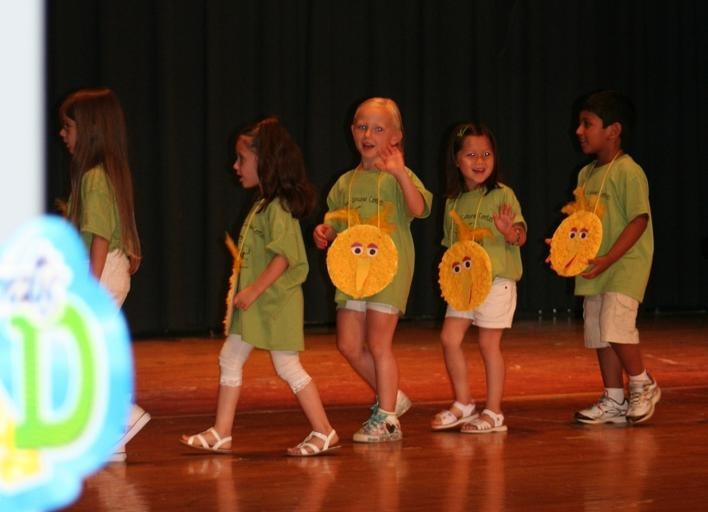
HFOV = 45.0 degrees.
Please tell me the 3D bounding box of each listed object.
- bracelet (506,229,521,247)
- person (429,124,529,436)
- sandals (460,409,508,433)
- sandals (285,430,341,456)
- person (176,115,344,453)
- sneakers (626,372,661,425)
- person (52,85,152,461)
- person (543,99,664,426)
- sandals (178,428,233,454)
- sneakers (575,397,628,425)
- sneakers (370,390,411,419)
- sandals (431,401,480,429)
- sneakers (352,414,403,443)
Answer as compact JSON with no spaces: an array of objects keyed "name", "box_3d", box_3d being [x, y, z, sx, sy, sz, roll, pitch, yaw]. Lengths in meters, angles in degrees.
[{"name":"bracelet","box_3d":[0.747,-0.090,3.952,0.104,0.070,0.033,-7,8,-44]},{"name":"person","box_3d":[0.594,0.078,4.032,0.424,1.411,0.644,0,6,11]},{"name":"sandals","box_3d":[0.589,0.741,3.866,0.181,0.086,0.096,1,-4,-13]},{"name":"sandals","box_3d":[-0.171,0.757,3.515,0.185,0.077,0.090,-2,-1,-27]},{"name":"person","box_3d":[-0.368,0.122,3.553,0.571,1.386,0.384,-2,6,-3]},{"name":"sneakers","box_3d":[1.374,0.651,4.068,0.103,0.134,0.296,-14,29,44]},{"name":"person","box_3d":[-1.042,-0.234,3.428,0.306,0.875,0.250,-2,6,-5]},{"name":"person","box_3d":[1.267,-0.014,4.115,0.410,1.574,0.591,1,6,19]},{"name":"sandals","box_3d":[-0.605,0.748,3.452,0.195,0.088,0.095,11,-4,-9]},{"name":"sneakers","box_3d":[1.182,0.738,4.081,0.281,0.140,0.110,2,-3,-12]},{"name":"sneakers","box_3d":[0.185,0.678,3.901,0.112,0.123,0.192,0,-7,-1]},{"name":"sandals","box_3d":[0.476,0.735,3.936,0.240,0.098,0.092,-9,-7,-37]},{"name":"sneakers","box_3d":[0.115,0.749,3.729,0.184,0.117,0.109,3,-4,-6]}]
